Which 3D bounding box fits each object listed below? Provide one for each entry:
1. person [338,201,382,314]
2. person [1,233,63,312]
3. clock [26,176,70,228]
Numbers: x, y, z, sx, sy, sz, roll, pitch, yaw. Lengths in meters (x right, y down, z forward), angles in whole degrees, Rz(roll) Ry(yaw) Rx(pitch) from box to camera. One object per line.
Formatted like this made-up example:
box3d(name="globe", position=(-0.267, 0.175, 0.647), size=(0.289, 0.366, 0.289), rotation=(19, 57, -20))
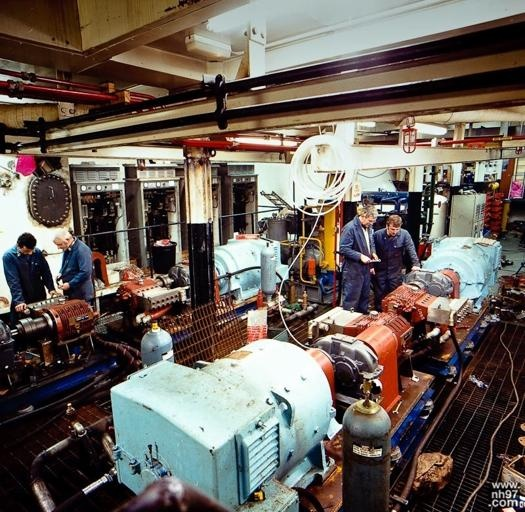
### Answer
box3d(name="person", position=(1.179, 0.078, 5.045), size=(0.409, 1.380, 0.439), rotation=(2, 16, 16))
box3d(name="person", position=(-2.482, 0.202, 4.326), size=(0.453, 0.867, 0.637), rotation=(-11, 17, -29))
box3d(name="clock", position=(-2.690, -0.696, 5.178), size=(0.133, 0.674, 0.598), rotation=(3, 15, 19))
